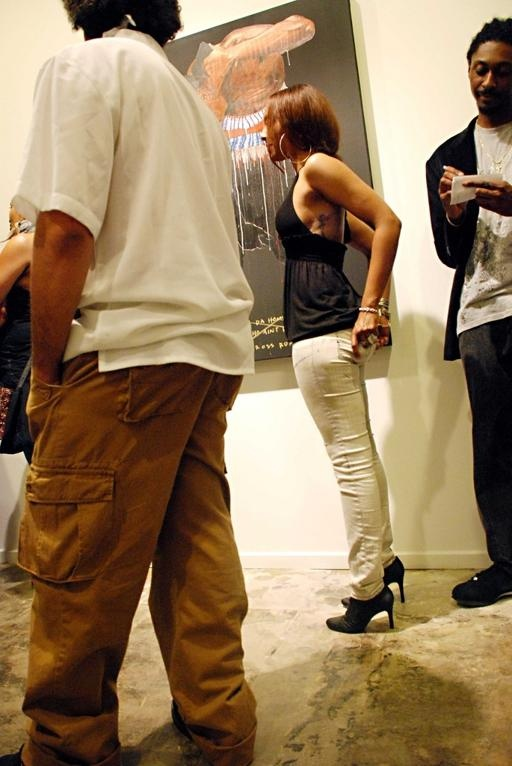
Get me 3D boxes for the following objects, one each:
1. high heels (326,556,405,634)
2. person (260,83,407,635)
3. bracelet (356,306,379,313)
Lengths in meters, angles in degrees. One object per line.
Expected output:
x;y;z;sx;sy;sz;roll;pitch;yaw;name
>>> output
0.262;0.593;1.748;0.289;0.219;0.113;-4;3;10;high heels
0.258;-0.098;1.759;0.311;1.314;0.315;-6;-3;-7;person
0.297;-0.192;1.643;0.046;0.017;0.023;-7;-3;18;bracelet
